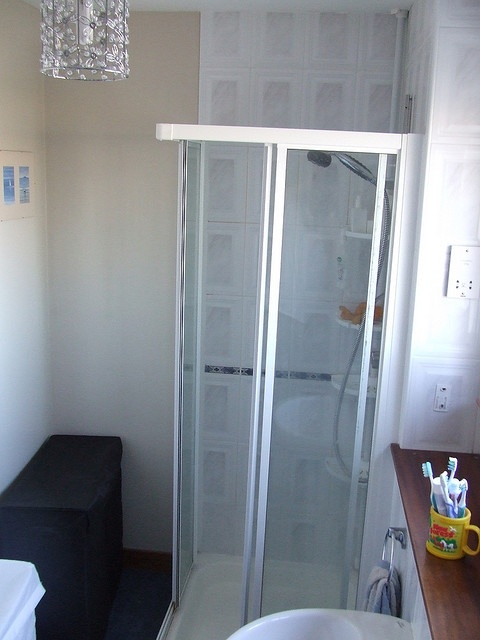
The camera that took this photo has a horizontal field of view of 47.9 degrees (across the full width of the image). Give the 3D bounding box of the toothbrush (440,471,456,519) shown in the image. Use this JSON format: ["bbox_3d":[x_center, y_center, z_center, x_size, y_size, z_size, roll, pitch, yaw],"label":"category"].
[{"bbox_3d":[0.428,0.363,1.120,0.013,0.094,0.022,-15,-19,33],"label":"toothbrush"}]
